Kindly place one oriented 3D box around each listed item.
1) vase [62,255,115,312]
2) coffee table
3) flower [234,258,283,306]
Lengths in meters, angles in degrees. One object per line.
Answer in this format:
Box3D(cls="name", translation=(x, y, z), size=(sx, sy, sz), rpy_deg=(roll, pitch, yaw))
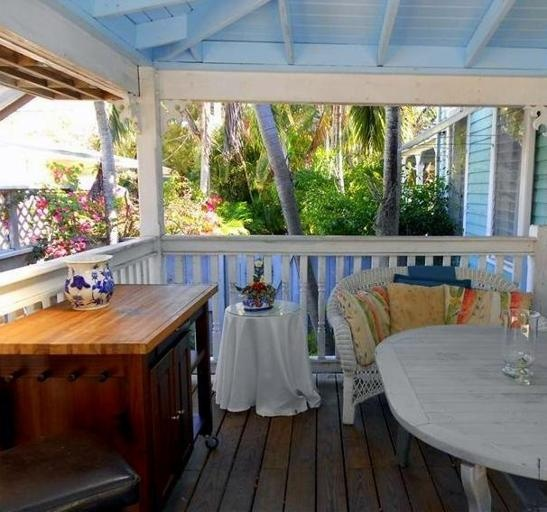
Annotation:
Box3D(cls="vase", translation=(-0.793, 0.113, 1.976), size=(0.191, 0.236, 0.216), rpy_deg=(4, 8, 15))
Box3D(cls="coffee table", translation=(-0.039, 0.604, 3.096), size=(0.619, 0.635, 0.585), rpy_deg=(2, 13, 8))
Box3D(cls="flower", translation=(-0.069, 0.109, 2.857), size=(0.331, 0.309, 0.384), rpy_deg=(-9, -5, -3))
